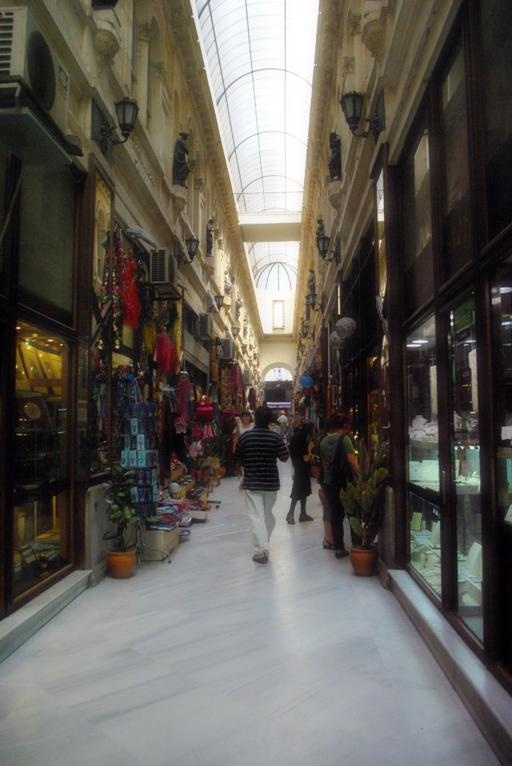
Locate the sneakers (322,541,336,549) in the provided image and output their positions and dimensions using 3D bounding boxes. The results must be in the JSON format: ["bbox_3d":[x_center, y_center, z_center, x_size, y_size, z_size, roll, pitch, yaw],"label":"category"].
[{"bbox_3d":[0.829,1.861,5.800,0.132,0.080,0.050,-5,-6,43],"label":"sneakers"}]

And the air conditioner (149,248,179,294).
[{"bbox_3d":[-1.339,-1.413,7.380,0.248,0.866,0.957,0,-3,4],"label":"air conditioner"}]

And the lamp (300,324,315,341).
[{"bbox_3d":[2.475,-2.589,25.178,0.690,1.176,0.824,-1,-1,27],"label":"lamp"}]

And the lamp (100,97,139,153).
[{"bbox_3d":[-1.476,-2.713,5.484,0.346,0.710,0.637,0,-6,-12],"label":"lamp"}]

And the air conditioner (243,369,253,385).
[{"bbox_3d":[-0.464,0.016,28.273,0.419,1.542,1.189,0,1,2],"label":"air conditioner"}]

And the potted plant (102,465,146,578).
[{"bbox_3d":[-1.295,1.323,4.920,0.345,1.026,0.590,1,-6,-18],"label":"potted plant"}]

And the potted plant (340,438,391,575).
[{"bbox_3d":[1.036,1.200,4.852,0.437,1.203,0.850,-2,-6,11],"label":"potted plant"}]

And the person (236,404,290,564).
[{"bbox_3d":[0.062,1.062,5.491,0.546,1.632,0.613,-1,-5,4],"label":"person"}]
